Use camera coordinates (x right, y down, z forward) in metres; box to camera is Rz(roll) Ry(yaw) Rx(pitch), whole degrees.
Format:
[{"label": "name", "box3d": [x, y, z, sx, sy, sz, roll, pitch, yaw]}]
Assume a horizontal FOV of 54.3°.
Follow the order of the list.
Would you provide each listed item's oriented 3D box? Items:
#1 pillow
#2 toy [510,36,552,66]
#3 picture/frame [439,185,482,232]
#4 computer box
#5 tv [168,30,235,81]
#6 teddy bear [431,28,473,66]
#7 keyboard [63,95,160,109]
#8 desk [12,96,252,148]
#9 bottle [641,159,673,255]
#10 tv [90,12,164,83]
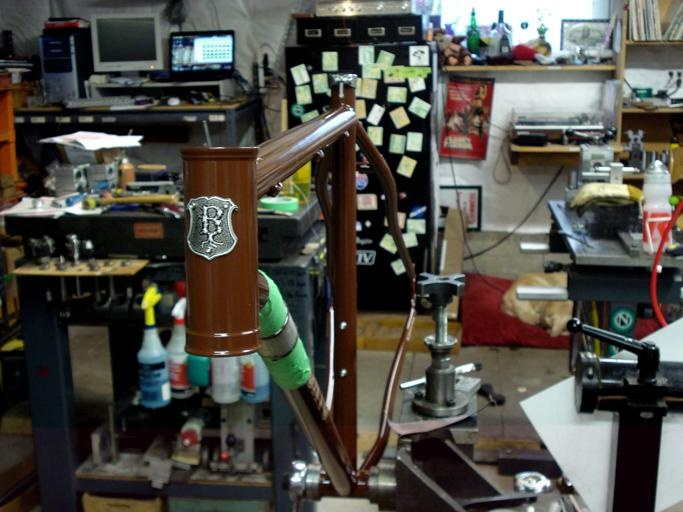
[{"label": "pillow", "box3d": [1.160, 0.441, 4.658, 0.702, 0.195, 0.711, 0, 32, 5]}, {"label": "toy", "box3d": [1.509, -1.615, 5.284, 0.369, 0.191, 0.165, -11, 17, -36]}, {"label": "picture/frame", "box3d": [1.008, -0.391, 5.632, 0.409, 0.384, 0.030, 0, 4, 10]}, {"label": "computer box", "box3d": [-2.312, -1.586, 5.550, 0.359, 0.611, 0.414, -1, 13, -1]}, {"label": "tv", "box3d": [-1.131, -1.610, 5.397, 0.423, 0.300, 0.058, 0, 2, 3]}, {"label": "teddy bear", "box3d": [0.877, -1.643, 5.271, 0.302, 0.281, 0.107, 1, 13, 7]}, {"label": "keyboard", "box3d": [-1.819, -1.204, 5.269, 0.764, 0.102, 0.295, 2, 14, 14]}, {"label": "desk", "box3d": [-1.709, -1.093, 5.533, 1.922, 0.380, 0.905, 1, 14, 9]}, {"label": "bottle", "box3d": [1.263, -0.197, 2.676, 0.111, 0.356, 0.201, 5, 15, 24]}, {"label": "tv", "box3d": [-1.778, -1.722, 5.519, 0.659, 0.561, 0.276, -1, 6, -4]}]
